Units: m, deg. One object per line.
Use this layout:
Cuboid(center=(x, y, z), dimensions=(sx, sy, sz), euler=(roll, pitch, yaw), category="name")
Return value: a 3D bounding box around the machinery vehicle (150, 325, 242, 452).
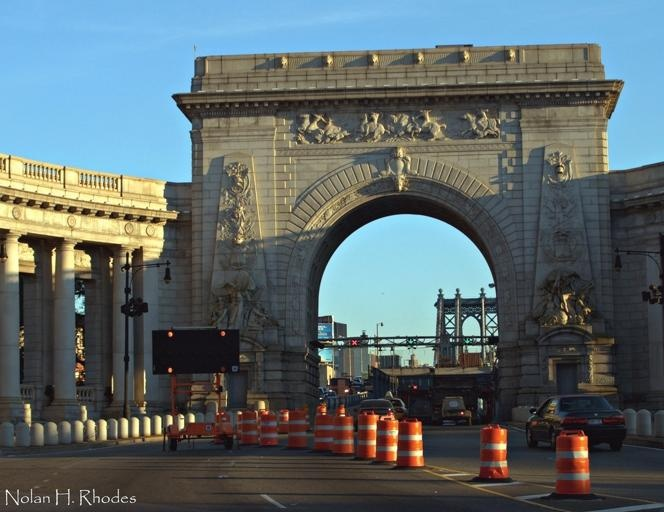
Cuboid(center=(-6.651, 6.356, 78.773), dimensions=(4.627, 5.321, 3.190), euler=(-2, 3, -16), category="machinery vehicle")
